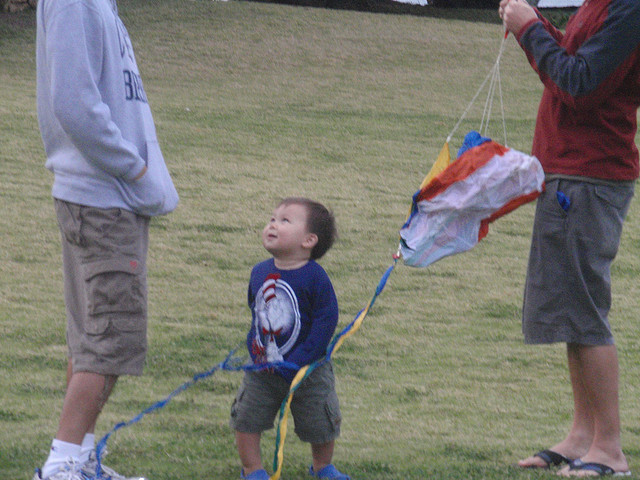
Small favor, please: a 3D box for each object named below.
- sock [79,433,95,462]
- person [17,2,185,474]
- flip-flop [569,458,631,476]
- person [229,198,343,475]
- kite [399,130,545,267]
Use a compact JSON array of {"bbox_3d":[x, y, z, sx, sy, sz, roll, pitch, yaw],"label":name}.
[{"bbox_3d":[-1.277,1.132,9.599,0.054,0.140,0.244,12,14,1],"label":"sock"},{"bbox_3d":[-1.167,-0.013,9.577,0.799,2.452,0.864,4,16,-31],"label":"person"},{"bbox_3d":[1.529,1.269,9.724,0.334,0.090,0.116,10,-17,1],"label":"flip-flop"},{"bbox_3d":[-0.124,0.560,9.726,0.628,1.521,0.558,9,14,-12],"label":"person"},{"bbox_3d":[0.775,-0.202,9.925,0.764,0.691,0.792,5,24,-2],"label":"kite"}]
